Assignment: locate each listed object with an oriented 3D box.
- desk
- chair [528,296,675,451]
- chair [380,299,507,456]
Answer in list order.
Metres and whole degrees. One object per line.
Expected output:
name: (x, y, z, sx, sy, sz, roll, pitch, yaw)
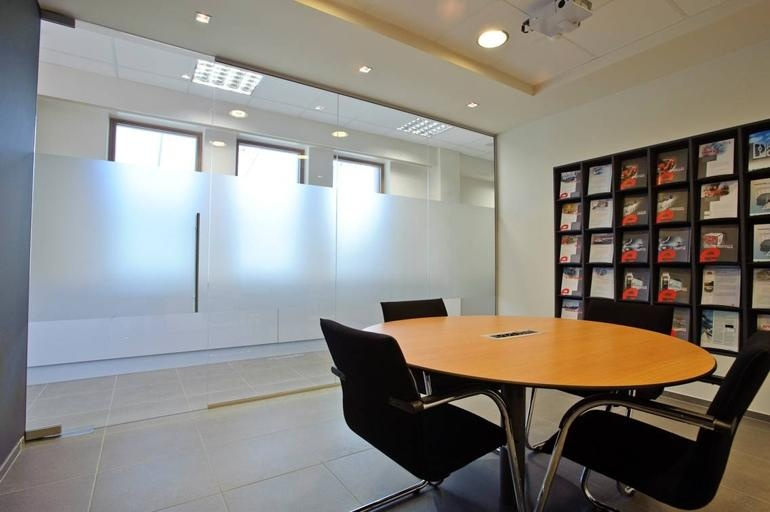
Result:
desk: (1.163, 0.635, 3.134, 1.398, 0.888, 1.728, 1, 1, -32)
chair: (1.510, 0.831, 3.322, 0.723, 1.230, 0.844, 25, -18, -29)
chair: (0.346, 0.709, 3.827, 0.720, 0.918, 0.680, -6, -6, 38)
